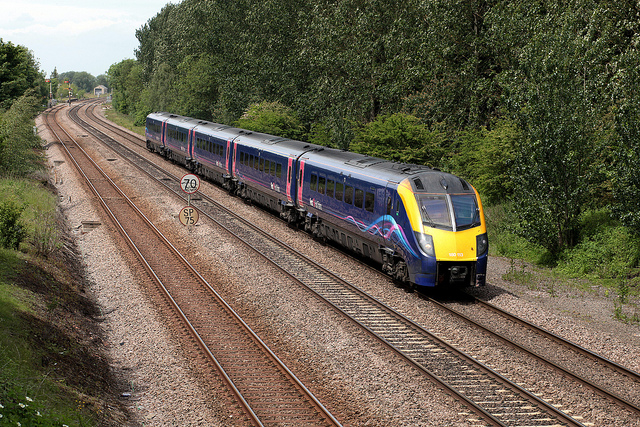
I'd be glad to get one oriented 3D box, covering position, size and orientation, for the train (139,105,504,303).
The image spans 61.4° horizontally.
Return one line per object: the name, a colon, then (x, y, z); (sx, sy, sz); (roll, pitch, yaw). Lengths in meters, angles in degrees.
train: (-2.667, -2.357, 33.006); (2.961, 3.666, 28.345); (-3, 16, -38)
